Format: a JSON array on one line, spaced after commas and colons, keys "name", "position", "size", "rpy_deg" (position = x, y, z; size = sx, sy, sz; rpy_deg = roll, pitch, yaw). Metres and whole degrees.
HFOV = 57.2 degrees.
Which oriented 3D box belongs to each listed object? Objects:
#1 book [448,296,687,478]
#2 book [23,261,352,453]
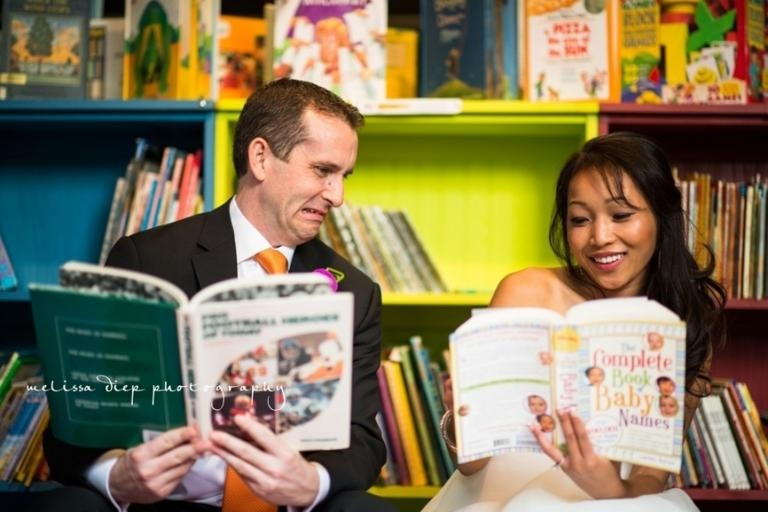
[{"name": "book", "position": [0.492, 0.358, 1.857], "size": [0.553, 0.379, 0.029], "rpy_deg": [-1, 7, 3]}, {"name": "book", "position": [-0.475, 0.263, 1.753], "size": [0.559, 0.360, 0.081], "rpy_deg": [2, 12, 4]}]
